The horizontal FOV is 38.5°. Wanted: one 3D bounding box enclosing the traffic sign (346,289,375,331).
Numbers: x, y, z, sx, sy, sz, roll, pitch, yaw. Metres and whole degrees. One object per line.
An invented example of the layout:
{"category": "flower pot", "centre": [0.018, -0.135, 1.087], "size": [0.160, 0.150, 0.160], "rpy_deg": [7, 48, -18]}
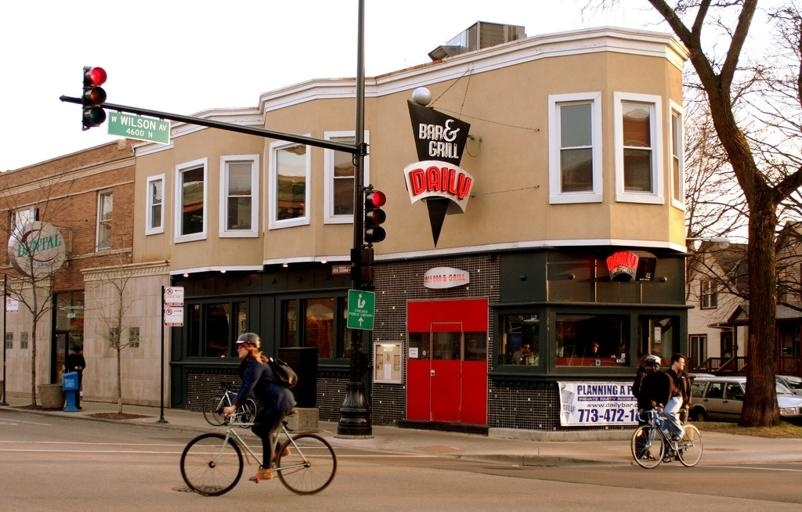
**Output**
{"category": "traffic sign", "centre": [-1.254, 1.600, 35.251], "size": [0.825, 1.254, 0.524], "rpy_deg": [2, -10, -11]}

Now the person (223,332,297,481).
{"category": "person", "centre": [-3.402, 3.665, 28.067], "size": [1.498, 3.554, 0.903], "rpy_deg": [1, -10, -8]}

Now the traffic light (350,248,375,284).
{"category": "traffic light", "centre": [-1.222, 0.286, 35.384], "size": [0.655, 1.173, 0.485], "rpy_deg": [-1, -10, 3]}

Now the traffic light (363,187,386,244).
{"category": "traffic light", "centre": [-0.825, -1.264, 35.289], "size": [0.632, 1.737, 0.658], "rpy_deg": [1, -10, -5]}

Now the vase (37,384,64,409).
{"category": "vase", "centre": [-13.327, 5.328, 43.463], "size": [0.907, 0.656, 0.926], "rpy_deg": [-1, -11, 2]}

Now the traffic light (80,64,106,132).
{"category": "traffic light", "centre": [-8.502, -4.339, 31.588], "size": [0.656, 1.753, 0.703], "rpy_deg": [3, -10, -16]}

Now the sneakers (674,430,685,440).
{"category": "sneakers", "centre": [7.810, 4.986, 31.951], "size": [0.333, 0.257, 0.191], "rpy_deg": [9, -13, -44]}
